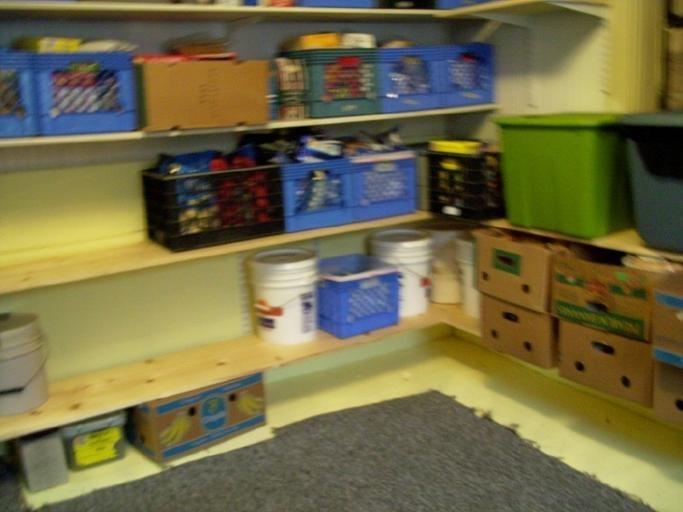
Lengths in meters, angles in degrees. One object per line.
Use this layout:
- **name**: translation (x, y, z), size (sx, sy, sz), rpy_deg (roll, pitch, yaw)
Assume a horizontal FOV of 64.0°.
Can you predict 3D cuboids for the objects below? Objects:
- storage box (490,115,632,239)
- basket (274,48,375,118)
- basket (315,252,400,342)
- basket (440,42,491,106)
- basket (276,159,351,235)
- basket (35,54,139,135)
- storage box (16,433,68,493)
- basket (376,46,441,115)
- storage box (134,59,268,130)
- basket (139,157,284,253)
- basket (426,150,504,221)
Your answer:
- **storage box**: translation (1.352, -0.450, 2.901), size (0.899, 0.531, 0.705), rpy_deg (-5, 14, -22)
- **basket**: translation (-0.083, -0.920, 2.919), size (0.485, 0.233, 0.432), rpy_deg (-6, 19, -14)
- **basket**: translation (0.131, 0.212, 3.075), size (0.501, 0.292, 0.468), rpy_deg (-5, 9, -32)
- **basket**: translation (0.715, -1.064, 3.194), size (0.476, 0.335, 0.149), rpy_deg (-7, 10, -32)
- **basket**: translation (-0.137, -0.357, 3.207), size (0.366, 0.391, 0.574), rpy_deg (-6, 6, -1)
- **basket**: translation (-1.096, -0.658, 2.335), size (0.427, 0.246, 0.387), rpy_deg (-7, 16, -28)
- **storage box**: translation (-1.344, 0.929, 2.448), size (0.196, 0.154, 0.323), rpy_deg (12, -13, -23)
- **basket**: translation (0.457, -1.016, 3.105), size (0.485, 0.330, 0.250), rpy_deg (9, 23, 32)
- **storage box**: translation (-0.762, -0.772, 2.558), size (0.419, 0.296, 0.730), rpy_deg (18, 25, 33)
- **basket**: translation (-0.692, -0.268, 2.846), size (0.725, 0.360, 0.411), rpy_deg (-14, 18, -36)
- **basket**: translation (0.757, -0.429, 3.226), size (0.325, 0.366, 0.499), rpy_deg (-11, 17, -32)
